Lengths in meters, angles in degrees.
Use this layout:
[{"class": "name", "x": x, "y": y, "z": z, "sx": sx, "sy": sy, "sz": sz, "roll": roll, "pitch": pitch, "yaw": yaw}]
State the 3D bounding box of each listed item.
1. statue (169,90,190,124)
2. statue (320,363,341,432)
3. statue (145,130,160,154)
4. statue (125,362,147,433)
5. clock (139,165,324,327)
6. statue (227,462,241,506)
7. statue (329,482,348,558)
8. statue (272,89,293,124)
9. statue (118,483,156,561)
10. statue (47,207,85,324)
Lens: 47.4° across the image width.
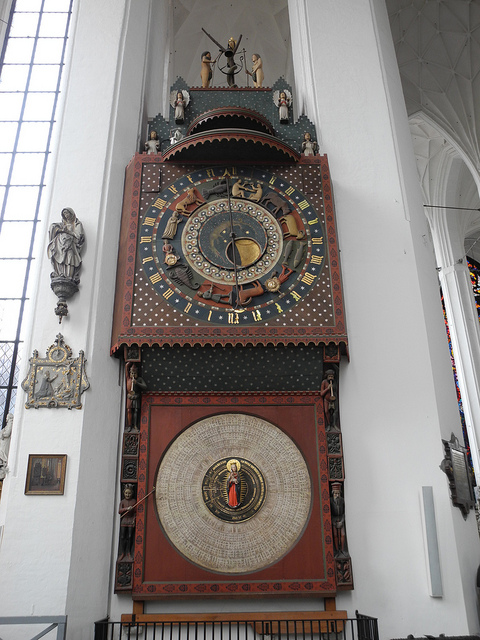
[{"class": "statue", "x": -1.037, "y": -3.663, "z": 9.341, "sx": 0.319, "sy": 0.757, "sz": 0.216, "roll": 2, "pitch": -21, "yaw": -9}, {"class": "statue", "x": 1.186, "y": 0.999, "z": 7.122, "sx": 0.252, "sy": 0.855, "sz": 0.252, "roll": 0, "pitch": -21, "yaw": -2}, {"class": "statue", "x": -1.452, "y": -2.925, "z": 8.950, "sx": 0.243, "sy": 0.629, "sz": 0.214, "roll": 3, "pitch": -21, "yaw": -10}, {"class": "statue", "x": -1.364, "y": 1.000, "z": 7.078, "sx": 0.275, "sy": 0.828, "sz": 0.339, "roll": 0, "pitch": -21, "yaw": -4}, {"class": "clock", "x": -0.141, "y": -0.958, "z": 7.682, "sx": 1.895, "sy": 2.270, "sz": 0.232, "roll": 3, "pitch": -27, "yaw": -3}, {"class": "statue", "x": -0.075, "y": 2.027, "z": 6.783, "sx": 0.167, "sy": 0.526, "sz": 0.095, "roll": 0, "pitch": -21, "yaw": -2}, {"class": "statue", "x": 1.206, "y": 2.426, "z": 6.661, "sx": 0.173, "sy": 0.851, "sz": 0.096, "roll": 0, "pitch": -21, "yaw": -4}, {"class": "statue", "x": 0.741, "y": -3.693, "z": 9.406, "sx": 0.297, "sy": 0.795, "sz": 0.195, "roll": 1, "pitch": -21, "yaw": -4}, {"class": "statue", "x": -1.314, "y": 2.439, "z": 6.629, "sx": 0.341, "sy": 0.874, "sz": 0.109, "roll": 4, "pitch": -21, "yaw": -13}, {"class": "statue", "x": -2.439, "y": -0.786, "z": 7.487, "sx": 0.488, "sy": 1.688, "sz": 0.299, "roll": 7, "pitch": -22, "yaw": -20}]
